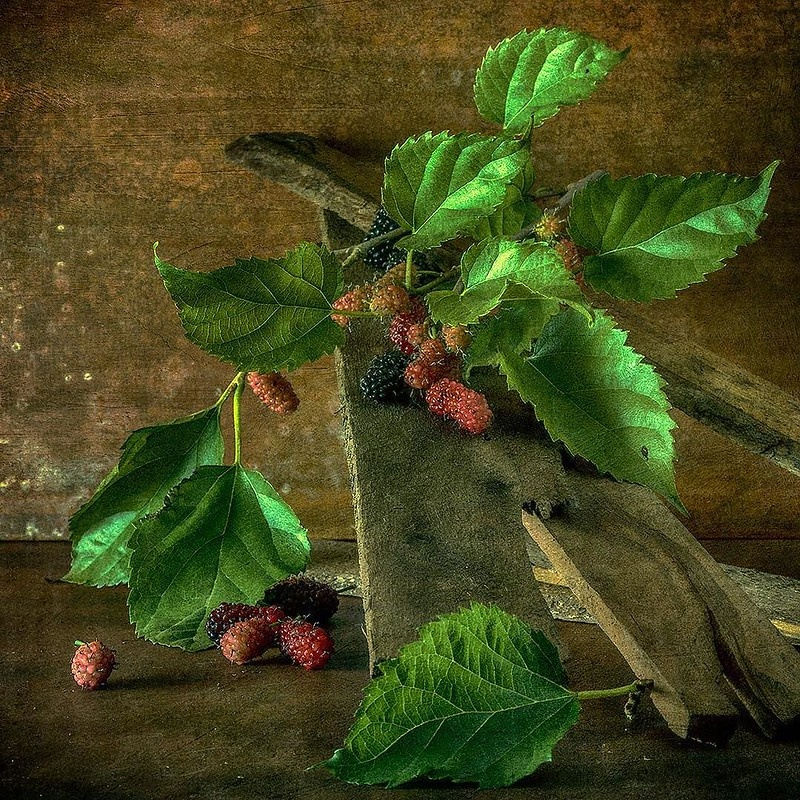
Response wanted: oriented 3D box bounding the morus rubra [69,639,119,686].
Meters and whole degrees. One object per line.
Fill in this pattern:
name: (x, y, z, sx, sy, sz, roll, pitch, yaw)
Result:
morus rubra: (-0.261, 0.239, 0.911, 0.055, 0.046, 0.036, 1, 83, 1)
